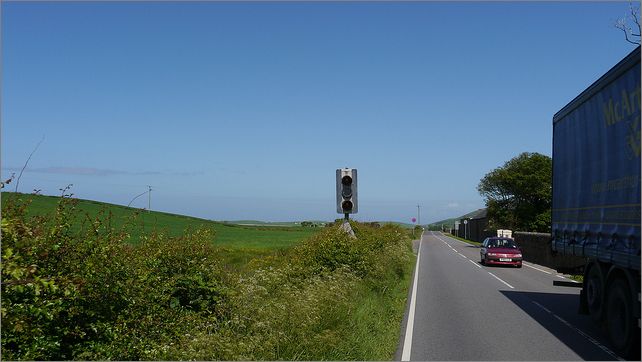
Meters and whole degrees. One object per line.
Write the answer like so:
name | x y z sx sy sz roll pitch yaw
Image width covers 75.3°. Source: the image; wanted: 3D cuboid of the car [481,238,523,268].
car | 11.994 4.255 27.469 2.390 1.866 1.764 7 2 25
